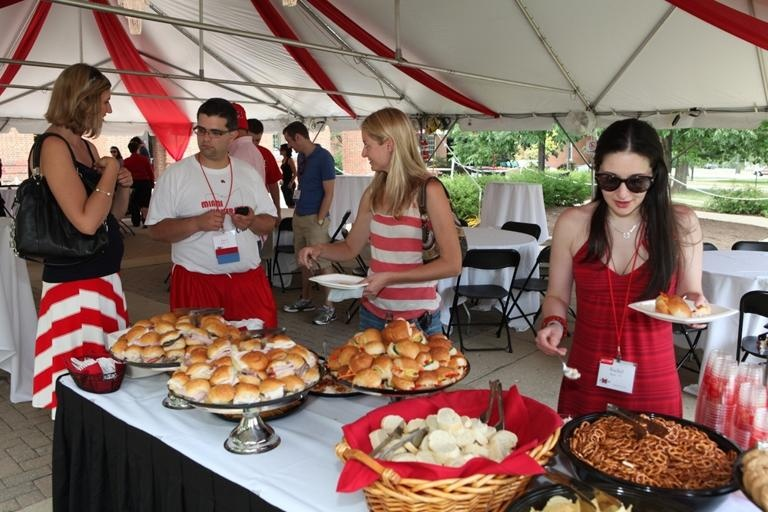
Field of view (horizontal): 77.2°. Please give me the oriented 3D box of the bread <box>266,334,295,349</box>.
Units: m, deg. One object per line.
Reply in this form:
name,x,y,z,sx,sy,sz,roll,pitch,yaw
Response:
bread,-0.400,0.322,1.823,0.054,0.022,0.073,1,-2,45

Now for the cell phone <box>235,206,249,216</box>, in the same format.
cell phone,-0.774,-0.244,2.608,0.073,0.045,0.106,-2,11,-4

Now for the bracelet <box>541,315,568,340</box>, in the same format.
bracelet,0.702,0.286,1.990,0.118,0.097,0.062,12,18,16

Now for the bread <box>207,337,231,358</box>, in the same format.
bread,-0.623,0.339,1.781,0.057,0.022,0.071,8,35,10

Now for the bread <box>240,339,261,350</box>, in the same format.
bread,-0.504,0.327,1.769,0.044,0.022,0.042,1,-1,-24

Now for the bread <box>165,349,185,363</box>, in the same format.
bread,-0.829,0.390,1.887,0.050,0.025,0.048,0,5,-14

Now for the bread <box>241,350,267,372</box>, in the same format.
bread,-0.463,0.369,1.690,0.090,0.055,0.065,-1,11,3

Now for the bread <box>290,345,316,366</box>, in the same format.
bread,-0.308,0.373,1.807,0.073,0.023,0.077,30,3,-37

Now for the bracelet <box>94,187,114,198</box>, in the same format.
bracelet,-1.434,-0.323,2.438,0.059,0.021,0.052,31,8,2

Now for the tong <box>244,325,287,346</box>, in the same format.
tong,-0.481,0.314,1.892,0.094,0.023,0.083,-5,10,-36

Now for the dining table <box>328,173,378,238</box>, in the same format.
dining table,-0.377,-0.967,10.017,0.925,1.362,0.910,3,-1,-42

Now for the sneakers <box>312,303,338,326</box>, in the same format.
sneakers,-0.696,0.679,5.612,0.157,0.134,0.324,7,9,30

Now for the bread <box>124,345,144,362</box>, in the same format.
bread,-0.993,0.383,1.890,0.063,0.035,0.062,-5,-17,25

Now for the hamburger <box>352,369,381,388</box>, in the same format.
hamburger,-0.060,0.424,1.664,0.059,0.037,0.070,4,1,-37

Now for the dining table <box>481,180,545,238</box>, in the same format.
dining table,2.284,-0.735,8.342,1.143,1.022,1.094,3,5,18

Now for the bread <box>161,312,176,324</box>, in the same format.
bread,-0.932,0.268,2.061,0.045,0.020,0.043,-6,18,-37

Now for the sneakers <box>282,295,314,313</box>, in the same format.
sneakers,-1.140,0.602,6.022,0.456,0.192,0.157,-1,13,-20

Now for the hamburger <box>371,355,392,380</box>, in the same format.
hamburger,-0.009,0.392,1.692,0.060,0.073,0.036,-17,-21,-12

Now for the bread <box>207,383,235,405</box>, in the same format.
bread,-0.546,0.454,1.588,0.062,0.036,0.068,6,-4,2

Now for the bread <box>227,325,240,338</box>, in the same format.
bread,-0.652,0.319,2.043,0.070,0.019,0.068,12,13,-2

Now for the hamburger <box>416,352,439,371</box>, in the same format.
hamburger,0.150,0.383,1.726,0.062,0.028,0.070,0,46,-26

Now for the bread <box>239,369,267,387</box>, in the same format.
bread,-0.463,0.415,1.644,0.060,0.020,0.055,5,3,3

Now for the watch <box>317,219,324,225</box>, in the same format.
watch,-0.737,-0.386,5.489,0.059,0.050,0.014,-1,12,-6

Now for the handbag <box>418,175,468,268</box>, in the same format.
handbag,0.274,-0.173,2.303,0.240,0.413,0.213,-2,11,1

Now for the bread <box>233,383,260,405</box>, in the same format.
bread,-0.461,0.456,1.585,0.056,0.020,0.067,3,37,-11

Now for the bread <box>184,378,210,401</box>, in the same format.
bread,-0.633,0.448,1.614,0.072,0.054,0.068,9,15,43

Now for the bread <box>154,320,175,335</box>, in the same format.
bread,-0.913,0.294,1.983,0.059,0.030,0.057,8,8,-11

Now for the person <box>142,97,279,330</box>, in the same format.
person,-0.966,-0.214,2.633,0.694,1.250,0.366,-4,12,-11

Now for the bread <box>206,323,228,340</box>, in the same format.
bread,-0.711,0.308,2.005,0.070,0.021,0.069,20,12,7

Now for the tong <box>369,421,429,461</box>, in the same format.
tong,0.042,0.552,1.430,0.153,0.061,0.041,-26,1,19

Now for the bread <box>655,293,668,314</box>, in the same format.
bread,1.038,0.175,1.793,0.029,0.055,0.060,12,23,33

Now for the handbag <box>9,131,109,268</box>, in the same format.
handbag,-1.706,-0.296,2.469,0.421,0.656,0.238,-7,13,-26

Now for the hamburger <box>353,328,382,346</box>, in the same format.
hamburger,-0.067,0.308,1.848,0.077,0.038,0.075,-3,-4,1

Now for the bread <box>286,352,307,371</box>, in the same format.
bread,-0.322,0.375,1.697,0.047,0.019,0.061,20,-2,1

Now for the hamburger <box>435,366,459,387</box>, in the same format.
hamburger,0.215,0.423,1.699,0.086,0.033,0.096,-1,0,9

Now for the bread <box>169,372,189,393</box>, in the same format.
bread,-0.724,0.434,1.669,0.054,0.021,0.066,5,46,3

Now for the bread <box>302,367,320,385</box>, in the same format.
bread,-0.271,0.426,1.714,0.061,0.025,0.078,5,-9,-11

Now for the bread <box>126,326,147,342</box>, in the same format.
bread,-1.033,0.315,1.984,0.075,0.021,0.074,-20,20,-41

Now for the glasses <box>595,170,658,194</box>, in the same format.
glasses,0.947,-0.286,1.875,0.247,0.082,0.118,0,11,6

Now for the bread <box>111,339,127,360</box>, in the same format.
bread,-1.074,0.373,1.929,0.070,0.022,0.073,-25,50,-16

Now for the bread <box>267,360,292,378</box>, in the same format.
bread,-0.369,0.393,1.681,0.063,0.040,0.068,8,15,41

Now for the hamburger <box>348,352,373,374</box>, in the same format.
hamburger,-0.086,0.383,1.726,0.066,0.033,0.067,-17,24,16

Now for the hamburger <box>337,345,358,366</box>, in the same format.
hamburger,-0.142,0.368,1.805,0.064,0.040,0.072,-10,22,14

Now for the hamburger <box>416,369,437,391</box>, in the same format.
hamburger,0.146,0.433,1.673,0.072,0.045,0.049,-1,11,2

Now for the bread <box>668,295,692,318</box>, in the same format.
bread,1.088,0.180,1.771,0.086,0.026,0.081,-3,21,-3

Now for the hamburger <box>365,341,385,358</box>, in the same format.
hamburger,-0.039,0.341,1.772,0.054,0.031,0.056,7,5,40

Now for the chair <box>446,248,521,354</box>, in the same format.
chair,0.985,0.446,4.967,0.745,1.002,0.802,2,-1,10

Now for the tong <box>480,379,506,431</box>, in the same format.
tong,0.368,0.492,1.595,0.074,0.028,0.224,-4,19,18

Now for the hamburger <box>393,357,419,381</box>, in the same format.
hamburger,0.070,0.395,1.690,0.079,0.038,0.064,11,9,28

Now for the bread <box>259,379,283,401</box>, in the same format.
bread,-0.380,0.448,1.604,0.061,0.033,0.063,-3,27,-25
